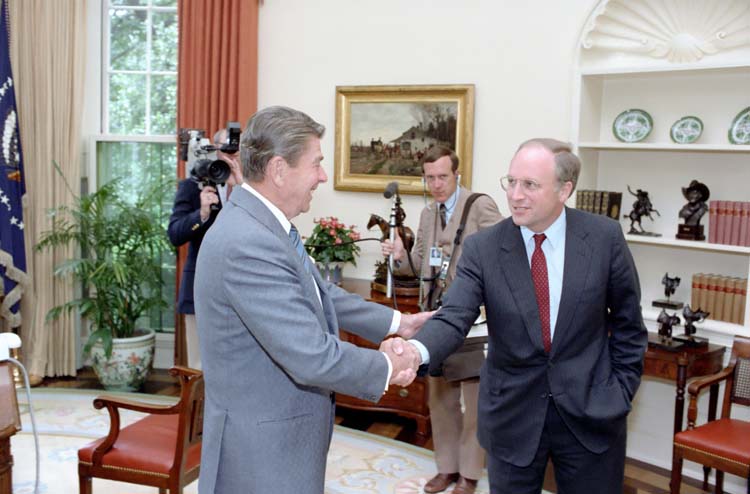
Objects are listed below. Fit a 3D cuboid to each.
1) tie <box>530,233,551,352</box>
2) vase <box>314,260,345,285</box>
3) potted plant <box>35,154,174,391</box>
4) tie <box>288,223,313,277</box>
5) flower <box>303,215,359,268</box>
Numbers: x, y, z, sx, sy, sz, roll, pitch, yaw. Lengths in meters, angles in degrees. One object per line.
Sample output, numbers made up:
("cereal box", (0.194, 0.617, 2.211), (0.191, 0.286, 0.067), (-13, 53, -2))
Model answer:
("tie", (0.874, 0.226, 3.016), (0.078, 0.582, 0.062), (-4, -9, 9))
("vase", (-0.419, 0.236, 5.262), (0.224, 0.192, 0.234), (0, -2, -7))
("potted plant", (-2.815, 0.289, 6.030), (1.131, 2.291, 1.068), (2, 6, 25))
("tie", (-0.401, 0.012, 2.760), (0.049, 0.214, 0.129), (-28, -21, 13))
("flower", (-0.417, -0.050, 5.471), (0.449, 0.430, 0.488), (5, 0, 4))
